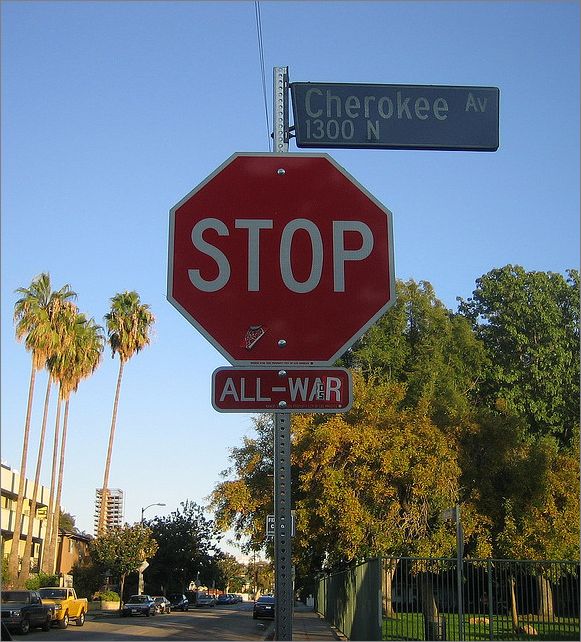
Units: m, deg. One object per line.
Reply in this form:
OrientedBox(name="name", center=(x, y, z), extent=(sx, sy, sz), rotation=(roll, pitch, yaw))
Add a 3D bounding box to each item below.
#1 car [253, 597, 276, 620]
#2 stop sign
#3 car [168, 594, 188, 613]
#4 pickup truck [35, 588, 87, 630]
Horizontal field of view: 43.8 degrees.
OrientedBox(name="car", center=(-1.454, 15.779, 39.908), extent=(1.078, 1.153, 2.199), rotation=(3, -20, -5))
OrientedBox(name="stop sign", center=(-0.040, -0.251, 3.139), extent=(0.694, 0.986, 0.077), rotation=(1, -23, -5))
OrientedBox(name="car", center=(-8.566, 21.523, 55.300), extent=(1.435, 1.202, 2.476), rotation=(5, -20, -10))
OrientedBox(name="pickup truck", center=(-9.854, 12.370, 31.304), extent=(1.307, 1.446, 2.664), rotation=(-7, -33, 7))
